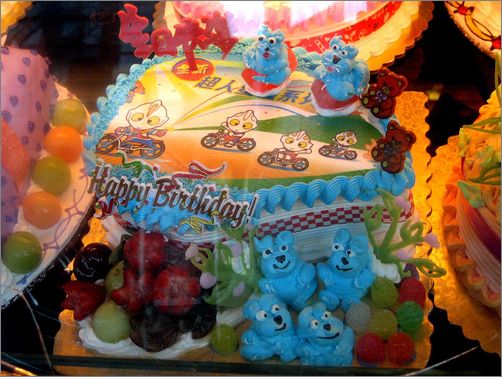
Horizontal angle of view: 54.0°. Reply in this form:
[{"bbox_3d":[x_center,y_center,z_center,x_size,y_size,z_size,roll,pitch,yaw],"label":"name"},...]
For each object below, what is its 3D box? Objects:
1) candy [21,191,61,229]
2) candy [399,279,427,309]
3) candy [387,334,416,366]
[{"bbox_3d":[-1.372,0.140,3.208,0.205,0.199,0.253,3,8,-36],"label":"candy"},{"bbox_3d":[0.953,0.616,2.914,0.139,0.139,0.172,-2,11,-7],"label":"candy"},{"bbox_3d":[0.838,0.889,2.762,0.149,0.177,0.151,-4,-2,23],"label":"candy"}]
